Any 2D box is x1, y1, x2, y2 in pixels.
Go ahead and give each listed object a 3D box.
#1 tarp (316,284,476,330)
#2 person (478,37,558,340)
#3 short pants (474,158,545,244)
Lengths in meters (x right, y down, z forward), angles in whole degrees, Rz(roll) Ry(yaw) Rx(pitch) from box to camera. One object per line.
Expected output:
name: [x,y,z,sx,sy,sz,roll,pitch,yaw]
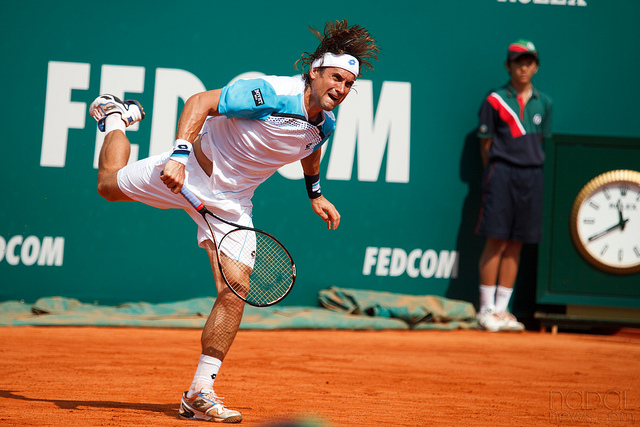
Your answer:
tarp: [0.891,1.117,8.079,1.851,0.423,0.371,5,-4,-3]
person: [2.188,-0.368,7.906,0.828,3.576,0.761,5,-5,-2]
short pants: [2.247,-0.177,7.914,0.720,0.963,0.493,4,5,0]
